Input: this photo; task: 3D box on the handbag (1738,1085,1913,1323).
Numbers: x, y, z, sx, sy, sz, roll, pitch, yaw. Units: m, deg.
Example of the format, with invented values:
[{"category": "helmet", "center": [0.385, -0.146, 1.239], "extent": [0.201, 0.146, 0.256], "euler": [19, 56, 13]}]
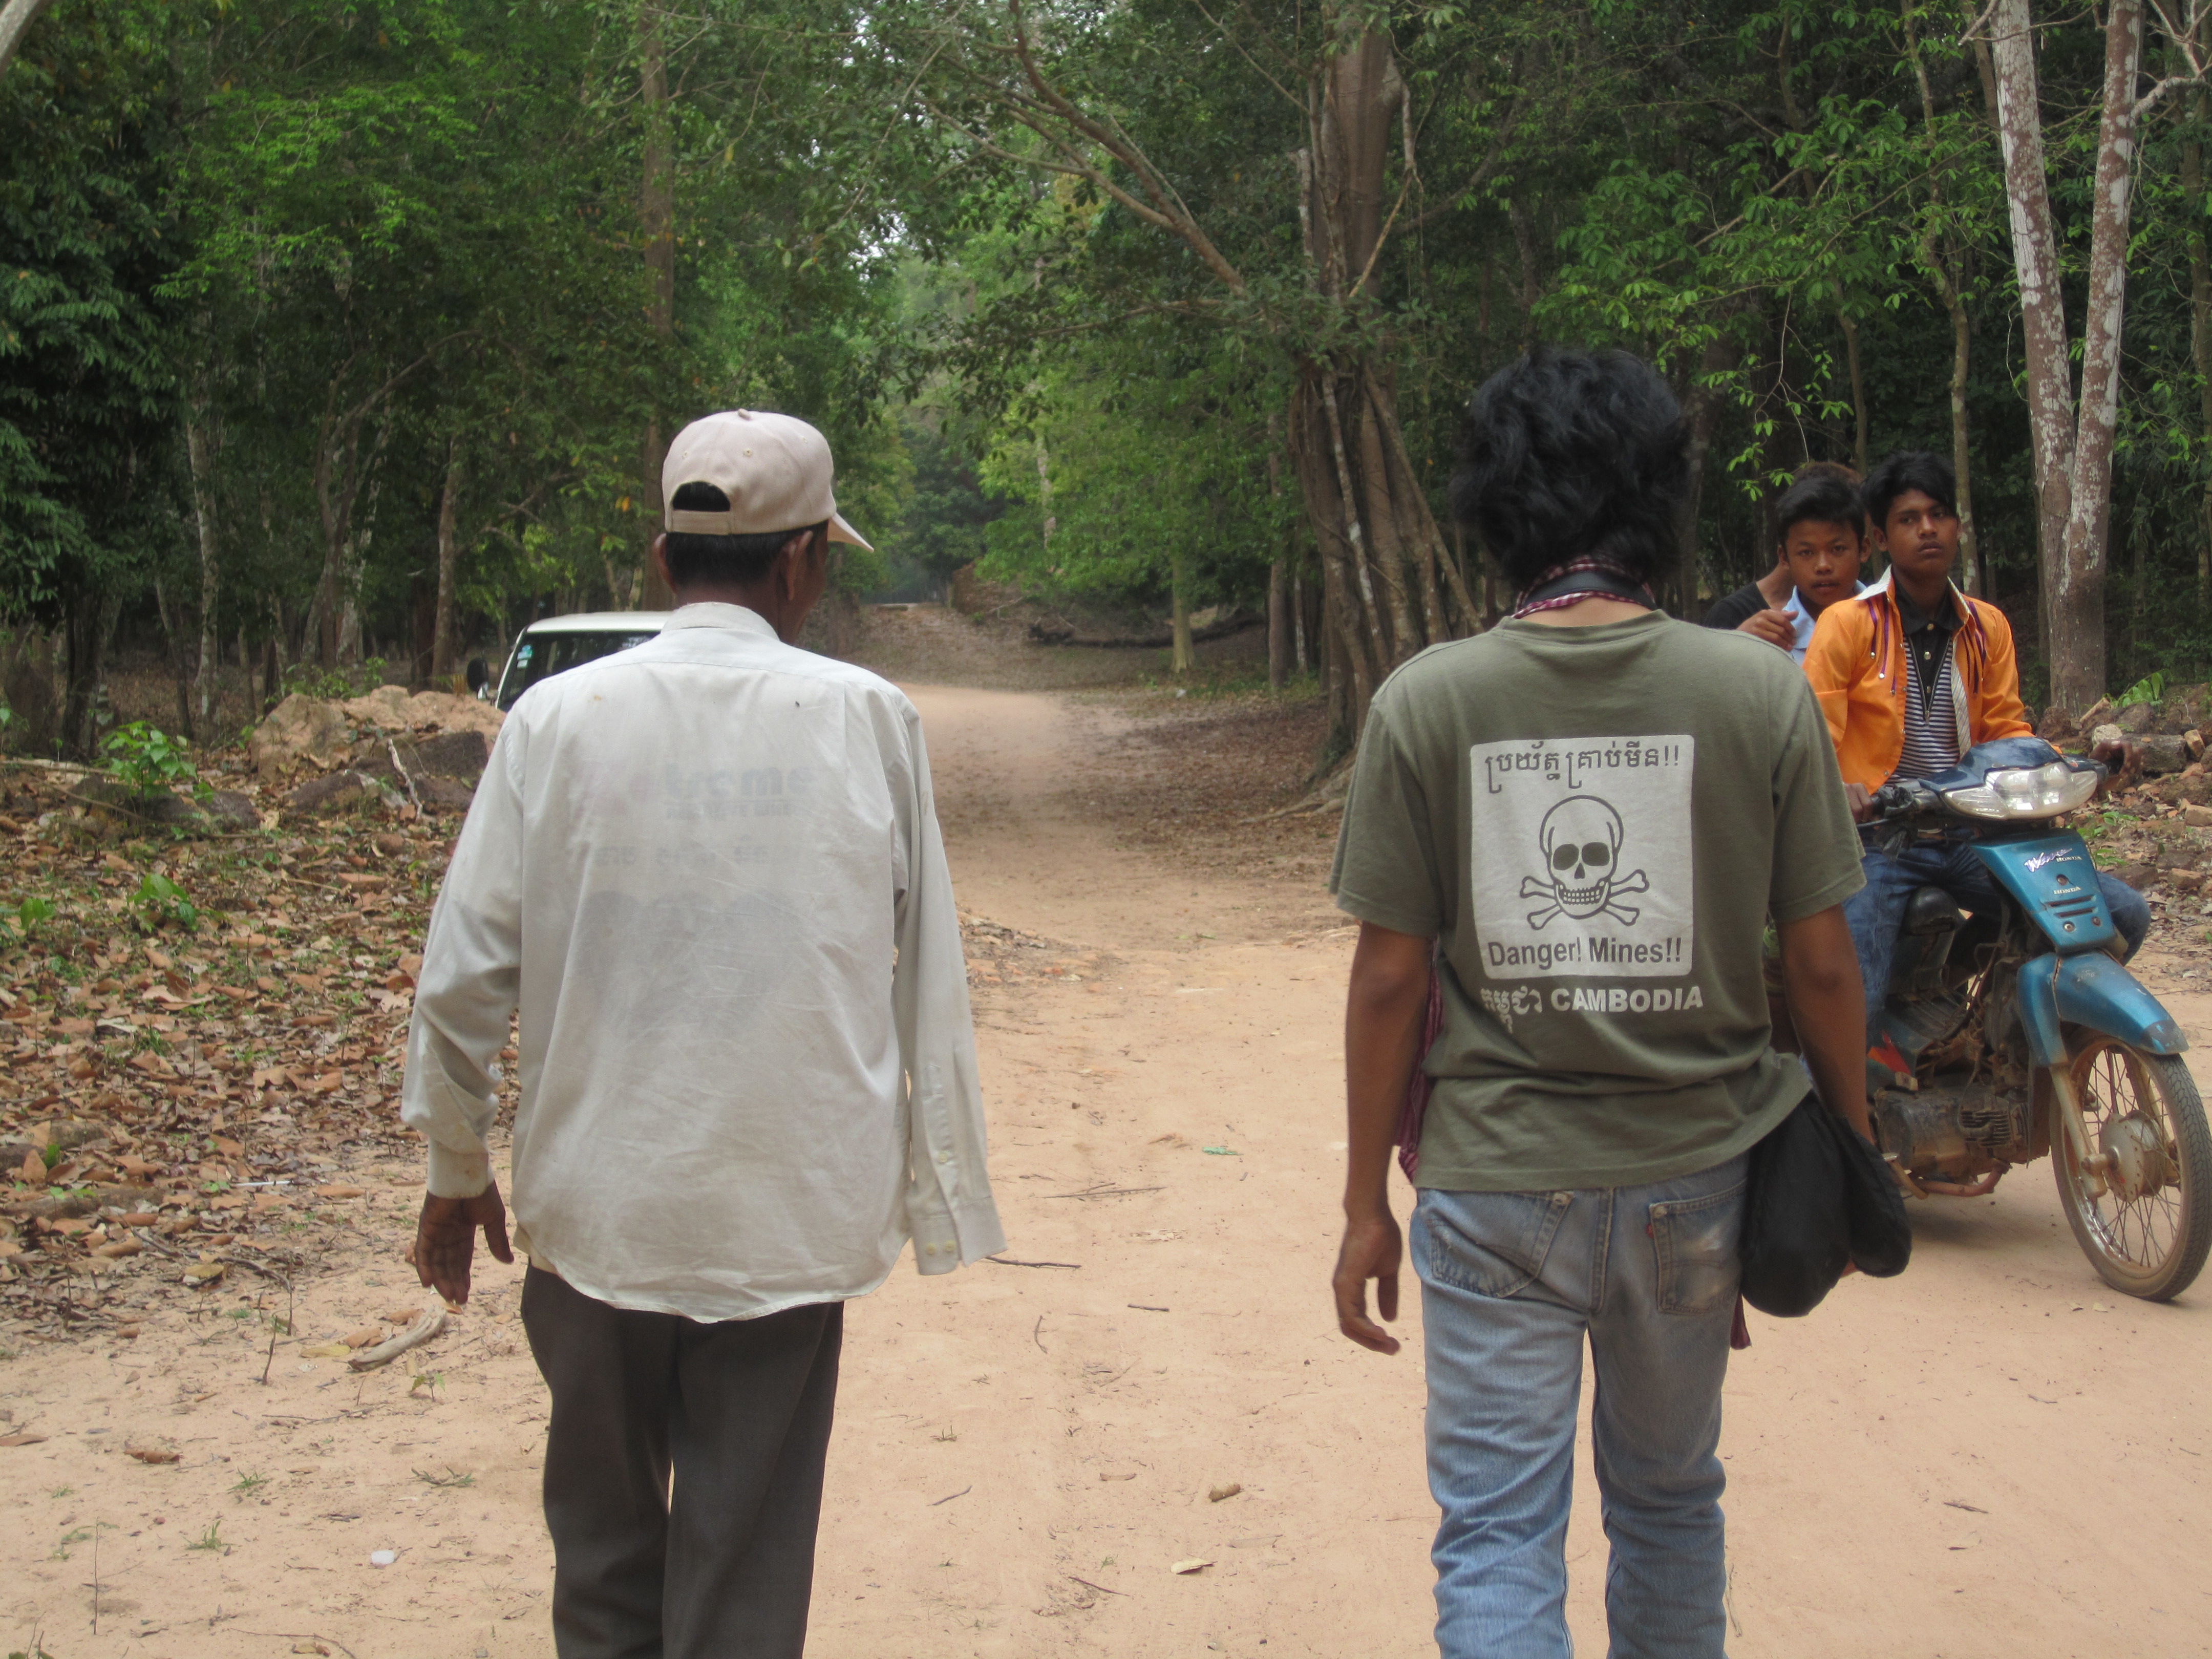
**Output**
[{"category": "handbag", "center": [1.777, 0.978, 6.533], "extent": [0.415, 0.611, 0.317], "euler": [-10, -36, 23]}]

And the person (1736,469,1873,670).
[{"category": "person", "center": [2.670, -0.997, 9.784], "extent": [0.447, 0.787, 0.436], "euler": [5, 20, 35]}]

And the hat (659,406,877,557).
[{"category": "hat", "center": [-0.878, -0.918, 6.921], "extent": [0.401, 0.359, 0.699], "euler": [4, 7, 23]}]
